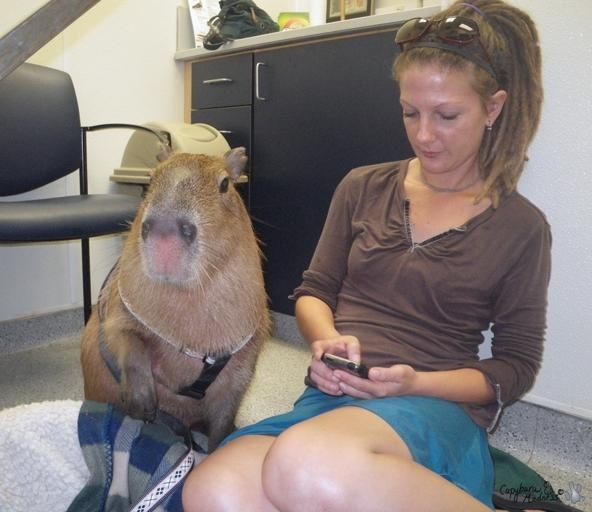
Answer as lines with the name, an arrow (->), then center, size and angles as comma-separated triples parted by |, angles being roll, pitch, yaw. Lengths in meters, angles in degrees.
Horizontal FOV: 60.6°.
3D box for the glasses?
glasses -> 0.335, -0.470, 1.139 | 0.231, 0.127, 0.081 | 8, 21, 20
